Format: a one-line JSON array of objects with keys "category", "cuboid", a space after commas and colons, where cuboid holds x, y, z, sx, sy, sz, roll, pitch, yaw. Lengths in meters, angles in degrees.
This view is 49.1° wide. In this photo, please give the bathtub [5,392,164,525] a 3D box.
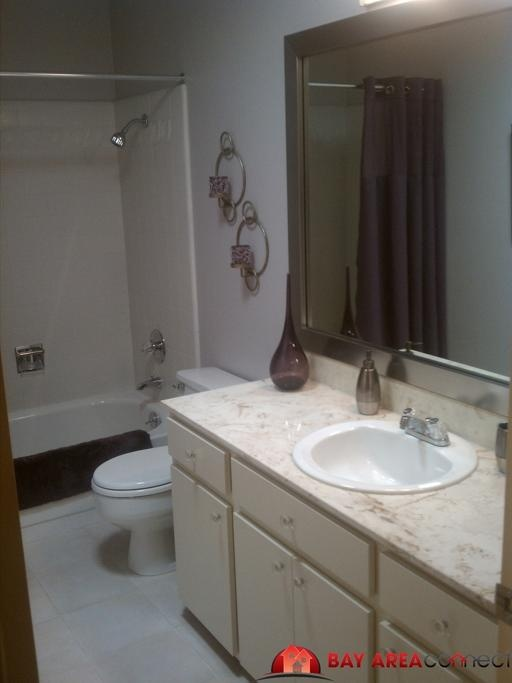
[{"category": "bathtub", "cuboid": [-0.924, 0.555, 3.166, 0.844, 0.320, 0.609, -8, 11, -39]}]

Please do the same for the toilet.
[{"category": "toilet", "cuboid": [-0.360, 0.558, 2.332, 0.605, 0.755, 0.400, -7, 14, -13]}]

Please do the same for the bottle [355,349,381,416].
[{"category": "bottle", "cuboid": [0.320, 0.112, 1.597, 0.064, 0.187, 0.069, -4, 19, 1]}]

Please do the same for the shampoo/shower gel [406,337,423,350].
[{"category": "shampoo/shower gel", "cuboid": [0.438, 0.008, 1.554, 0.014, 0.029, 0.041, -3, 6, -12]}]
